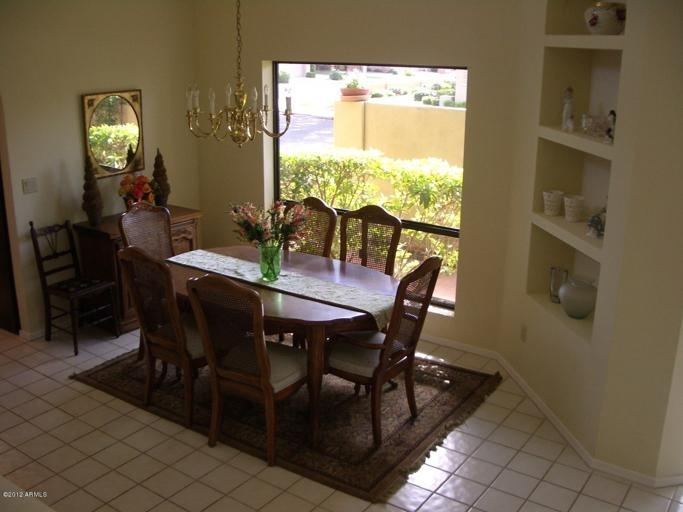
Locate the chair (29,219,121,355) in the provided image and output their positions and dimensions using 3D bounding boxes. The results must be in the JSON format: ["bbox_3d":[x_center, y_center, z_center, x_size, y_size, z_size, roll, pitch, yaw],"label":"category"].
[{"bbox_3d":[-2.660,0.242,5.104,0.744,1.170,0.576,12,24,32],"label":"chair"}]

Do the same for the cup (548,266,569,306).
[{"bbox_3d":[1.796,0.227,4.337,0.138,0.285,0.503,7,22,23],"label":"cup"}]

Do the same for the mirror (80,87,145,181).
[{"bbox_3d":[-2.437,-1.296,5.453,0.049,1.109,0.835,14,22,36],"label":"mirror"}]

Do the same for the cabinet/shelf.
[{"bbox_3d":[-1.907,0.174,4.701,0.525,0.989,1.008,12,24,27],"label":"cabinet/shelf"}]

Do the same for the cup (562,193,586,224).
[{"bbox_3d":[1.862,-0.385,4.254,0.211,0.255,0.233,2,14,25],"label":"cup"}]

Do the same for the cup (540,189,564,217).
[{"bbox_3d":[1.731,-0.447,4.287,0.203,0.232,0.201,-2,11,0],"label":"cup"}]
